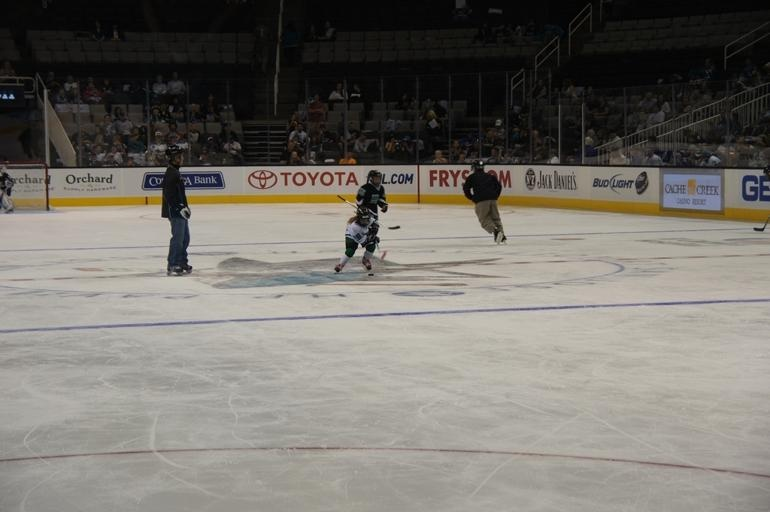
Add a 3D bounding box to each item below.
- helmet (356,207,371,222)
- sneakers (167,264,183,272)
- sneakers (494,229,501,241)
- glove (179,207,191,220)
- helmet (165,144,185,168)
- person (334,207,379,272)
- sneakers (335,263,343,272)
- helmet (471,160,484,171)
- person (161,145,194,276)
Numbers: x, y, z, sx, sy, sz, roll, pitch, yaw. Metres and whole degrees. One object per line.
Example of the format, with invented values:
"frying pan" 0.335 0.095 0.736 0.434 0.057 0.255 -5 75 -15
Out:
"helmet" -0.369 -0.735 13.467 0.234 0.228 0.248 4 -1 -9
"sneakers" -3.733 0.247 13.582 0.241 0.096 0.114 -2 9 -5
"sneakers" 2.592 -0.440 17.394 0.148 0.227 0.110 1 -1 11
"glove" -3.483 -0.743 13.362 0.209 0.100 0.254 4 -4 -21
"helmet" -3.825 -1.798 13.704 0.412 0.447 0.476 1 15 6
"person" -0.501 -0.342 14.124 0.740 1.164 1.730 0 7 -1
"sneakers" -0.812 0.211 13.536 0.146 0.178 0.419 -1 7 -6
"helmet" 2.297 -2.236 18.701 0.240 0.244 0.287 -1 -17 -8
"person" -3.789 -0.863 13.872 0.466 2.295 1.506 -2 8 -15
